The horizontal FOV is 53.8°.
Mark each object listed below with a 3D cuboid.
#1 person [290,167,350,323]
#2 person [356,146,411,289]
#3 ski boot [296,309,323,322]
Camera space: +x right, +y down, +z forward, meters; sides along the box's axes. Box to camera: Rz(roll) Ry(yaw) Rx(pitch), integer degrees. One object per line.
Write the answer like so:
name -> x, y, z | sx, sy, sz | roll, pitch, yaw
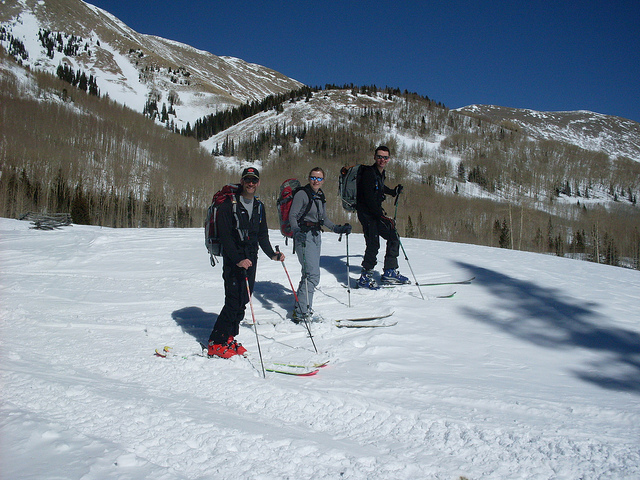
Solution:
person -> -0.153, 0.126, 14.118 | 1.039, 3.505, 0.772 | 1, 0, 0
person -> 1.509, -0.574, 15.693 | 1.184, 3.601, 1.088 | 1, 0, -38
ski boot -> -0.267, 1.742, 14.257 | 0.649, 0.455, 0.228 | -2, 3, -9
